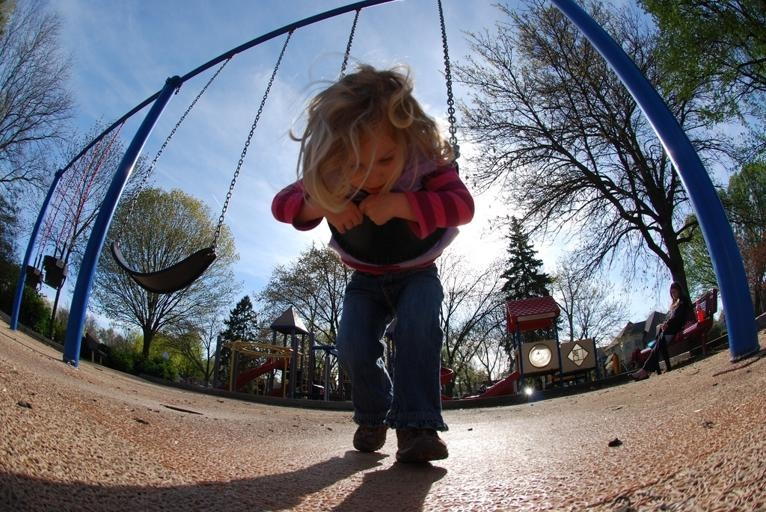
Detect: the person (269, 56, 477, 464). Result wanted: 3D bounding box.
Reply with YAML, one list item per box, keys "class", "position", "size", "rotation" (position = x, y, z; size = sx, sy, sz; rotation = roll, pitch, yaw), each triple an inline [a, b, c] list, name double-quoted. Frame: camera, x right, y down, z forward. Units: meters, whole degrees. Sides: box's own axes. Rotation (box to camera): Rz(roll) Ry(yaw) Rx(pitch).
- class: "person"
  position: [0.001, -0.038, 2.047]
  size: [0.884, 1.936, 0.555]
  rotation: [1, -9, -14]

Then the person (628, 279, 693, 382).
- class: "person"
  position: [4.847, 1.228, 7.225]
  size: [0.792, 1.658, 2.354]
  rotation: [-8, -12, 39]

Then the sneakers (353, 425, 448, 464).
- class: "sneakers"
  position: [0.071, 0.833, 1.870]
  size: [0.179, 0.155, 0.502]
  rotation: [6, -13, -38]
